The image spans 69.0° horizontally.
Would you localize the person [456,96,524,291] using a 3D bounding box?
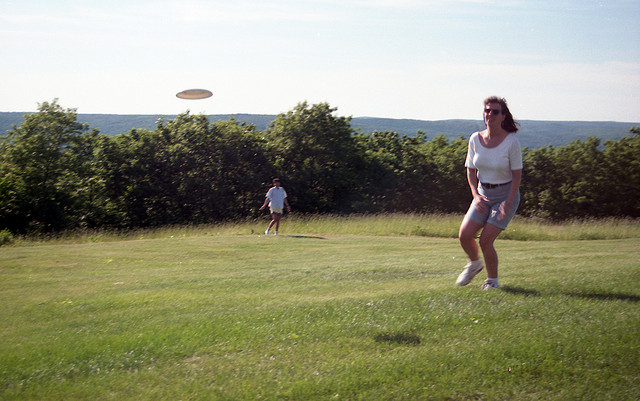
[{"bbox_3d":[2.645,-0.028,7.290,0.931,3.142,0.938,1,17,20],"label":"person"}]
